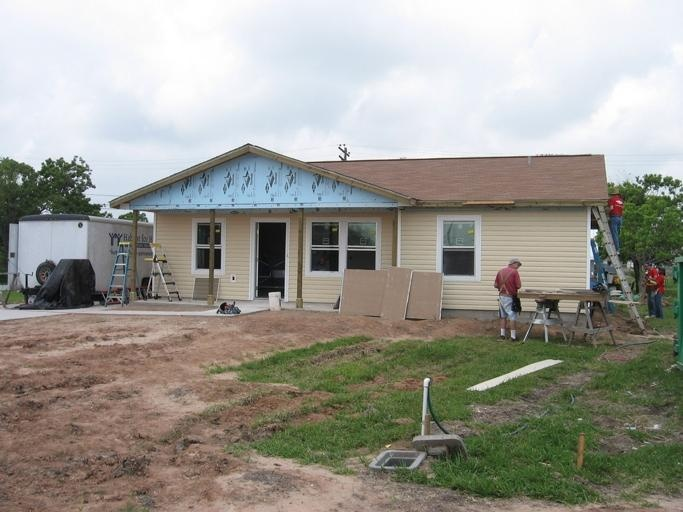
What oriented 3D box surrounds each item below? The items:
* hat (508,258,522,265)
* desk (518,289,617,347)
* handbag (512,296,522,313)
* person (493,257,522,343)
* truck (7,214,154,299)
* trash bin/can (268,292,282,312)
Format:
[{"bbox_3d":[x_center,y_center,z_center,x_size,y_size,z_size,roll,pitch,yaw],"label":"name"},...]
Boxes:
[{"bbox_3d":[3.910,0.136,13.929,0.275,0.180,0.394,1,1,32],"label":"hat"},{"bbox_3d":[4.950,1.320,13.517,1.010,1.001,1.661,-2,2,-40],"label":"desk"},{"bbox_3d":[3.832,1.085,13.618,0.264,0.352,0.096,8,-4,-32],"label":"handbag"},{"bbox_3d":[3.684,0.972,13.674,0.506,1.739,0.839,0,8,11],"label":"person"},{"bbox_3d":[-7.978,0.083,18.614,2.543,2.377,4.389,-2,-3,25],"label":"truck"},{"bbox_3d":[-1.876,1.275,17.085,0.457,0.595,0.366,-1,1,10],"label":"trash bin/can"}]
